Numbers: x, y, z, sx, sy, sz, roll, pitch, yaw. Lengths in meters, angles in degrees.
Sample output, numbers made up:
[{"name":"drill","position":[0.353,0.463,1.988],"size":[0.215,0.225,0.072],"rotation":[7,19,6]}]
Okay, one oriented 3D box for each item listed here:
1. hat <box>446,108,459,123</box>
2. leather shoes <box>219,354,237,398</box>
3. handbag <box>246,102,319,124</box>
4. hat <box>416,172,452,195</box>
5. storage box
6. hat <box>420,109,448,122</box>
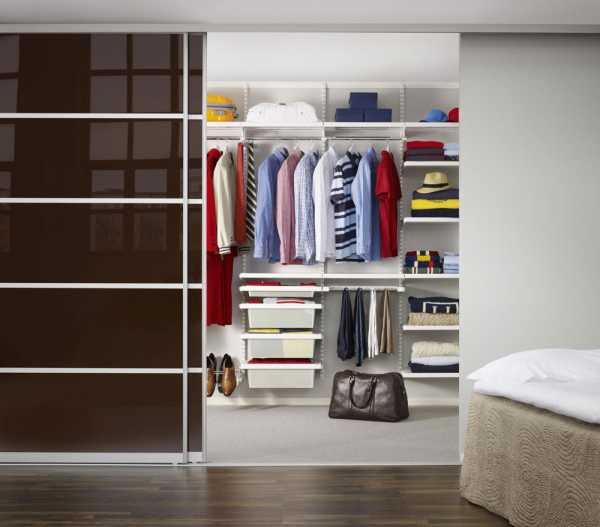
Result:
[{"name":"hat","position":[1.132,-1.092,5.426],"size":[0.027,0.119,0.112],"rotation":[4,2,-33]},{"name":"leather shoes","position":[-0.563,0.860,5.459],"size":[0.117,0.340,0.135],"rotation":[2,-25,-12]},{"name":"handbag","position":[-0.139,-1.105,5.384],"size":[0.532,0.167,0.130],"rotation":[0,5,-3]},{"name":"hat","position":[0.981,-0.584,5.401],"size":[0.254,0.165,0.092],"rotation":[1,5,9]},{"name":"storage box","position":[-0.162,0.610,5.602],"size":[0.800,0.865,0.548],"rotation":[0,-2,-2]},{"name":"hat","position":[1.002,-1.104,5.457],"size":[0.191,0.104,0.151],"rotation":[1,5,13]}]
